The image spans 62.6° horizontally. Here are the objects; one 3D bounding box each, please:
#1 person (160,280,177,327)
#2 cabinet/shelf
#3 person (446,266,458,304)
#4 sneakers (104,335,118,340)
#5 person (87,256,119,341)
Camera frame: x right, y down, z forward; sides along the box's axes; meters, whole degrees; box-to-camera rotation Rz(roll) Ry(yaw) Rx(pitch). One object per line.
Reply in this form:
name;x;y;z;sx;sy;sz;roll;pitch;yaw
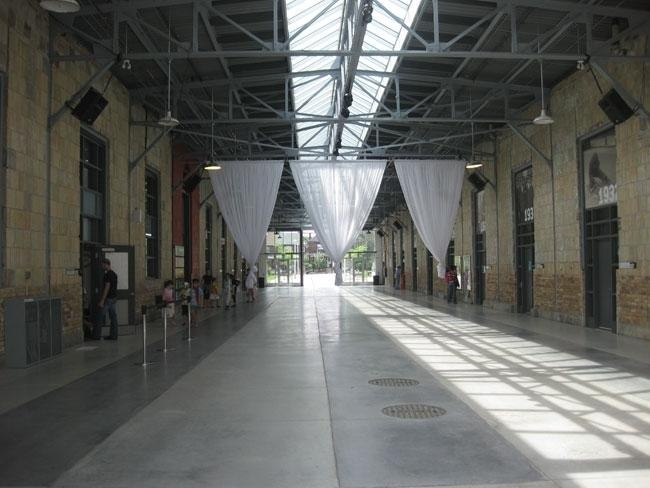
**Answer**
person;-5.322;2.027;18.001;0.511;1.960;0.641;-8;23;-18
cabinet/shelf;-5.989;1.807;10.949;0.374;1.194;1.205;-3;-5;6
person;6.051;1.914;25.518;0.592;1.715;1.380;-1;-4;14
sneakers;-5.810;2.555;14.454;0.384;0.190;0.146;-3;-5;13
person;-5.923;1.503;14.474;0.623;2.162;1.056;1;-4;-27
